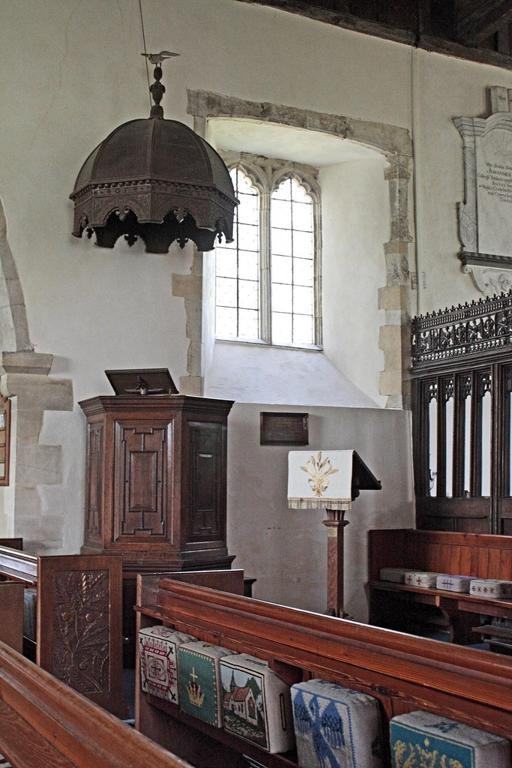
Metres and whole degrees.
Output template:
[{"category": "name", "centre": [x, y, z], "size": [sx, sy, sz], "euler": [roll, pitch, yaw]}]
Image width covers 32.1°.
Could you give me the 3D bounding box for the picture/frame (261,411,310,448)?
[{"category": "picture/frame", "centre": [0.219, 0.369, 7.119], "size": [0.440, 0.327, 0.253], "euler": [2, -9, -14]}]

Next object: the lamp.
[{"category": "lamp", "centre": [-0.501, -1.173, 4.399], "size": [0.791, 0.904, 0.824], "euler": [1, 1, -1]}]
